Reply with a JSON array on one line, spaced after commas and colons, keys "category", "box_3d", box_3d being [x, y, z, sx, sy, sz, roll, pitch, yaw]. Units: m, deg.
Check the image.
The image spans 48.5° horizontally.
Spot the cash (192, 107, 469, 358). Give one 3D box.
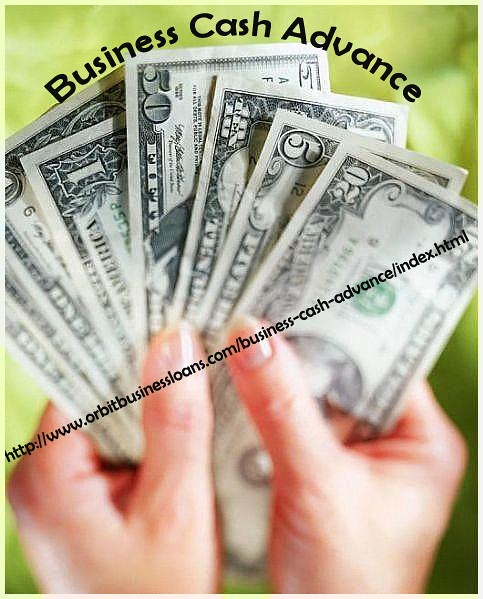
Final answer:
[{"category": "cash", "box_3d": [0.102, -0.071, 0.641, 0.246, 0.022, 0.258, 25, 96, 5]}]

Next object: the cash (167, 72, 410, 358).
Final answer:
[{"category": "cash", "box_3d": [0.053, -0.090, 0.643, 0.293, 0.027, 0.333, 19, 94, -11]}]
